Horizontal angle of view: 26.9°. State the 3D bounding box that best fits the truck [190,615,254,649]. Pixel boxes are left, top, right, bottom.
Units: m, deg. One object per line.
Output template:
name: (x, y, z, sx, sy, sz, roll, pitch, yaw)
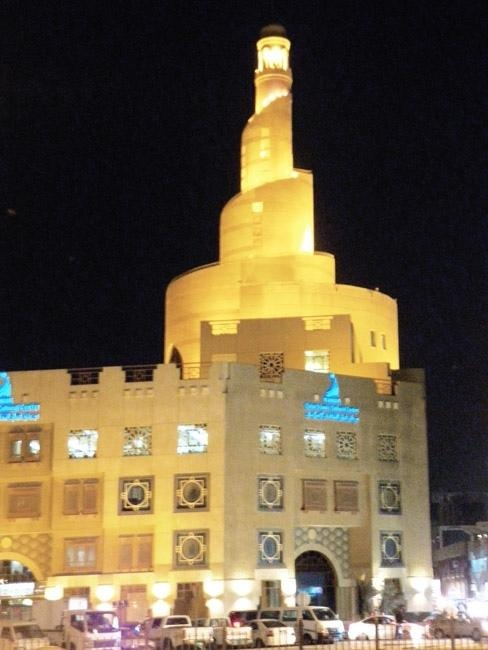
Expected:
truck: (-0.847, 11.881, 39.191, 2.672, 1.433, 4.348, 0, -8, -2)
